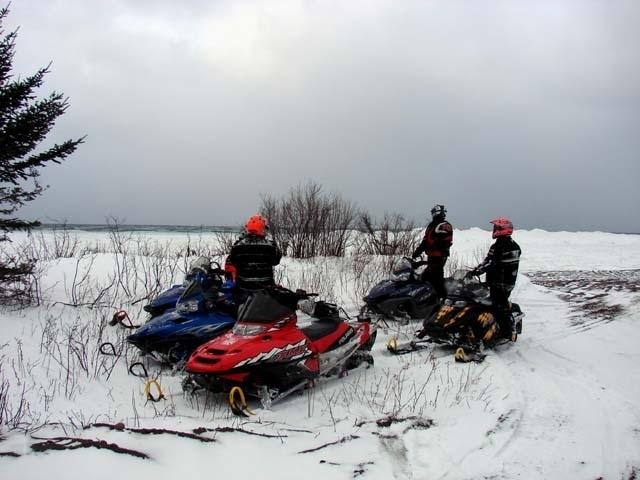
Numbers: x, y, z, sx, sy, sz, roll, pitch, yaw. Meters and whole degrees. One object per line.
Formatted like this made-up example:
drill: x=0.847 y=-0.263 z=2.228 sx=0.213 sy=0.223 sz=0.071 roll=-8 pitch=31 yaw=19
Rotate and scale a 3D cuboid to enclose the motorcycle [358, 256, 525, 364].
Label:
motorcycle: x=2.778 y=1.475 z=9.284 sx=3.438 sy=1.112 sz=1.806 roll=4 pitch=-2 yaw=-31
